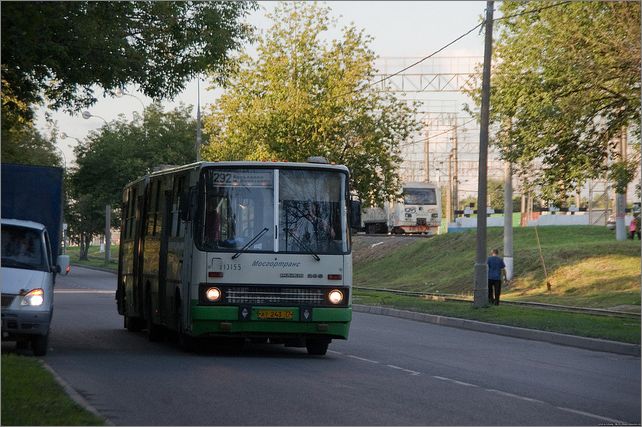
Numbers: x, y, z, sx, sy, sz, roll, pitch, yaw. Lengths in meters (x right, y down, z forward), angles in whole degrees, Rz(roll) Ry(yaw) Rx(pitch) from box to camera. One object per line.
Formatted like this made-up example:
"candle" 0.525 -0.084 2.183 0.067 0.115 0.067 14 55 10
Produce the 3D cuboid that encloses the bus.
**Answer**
"bus" -2.452 1.083 15.677 3.126 4.280 6.614 2 -2 -40

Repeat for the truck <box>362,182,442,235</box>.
"truck" 8.234 -0.196 66.213 4.225 4.524 14.966 1 -2 -13
